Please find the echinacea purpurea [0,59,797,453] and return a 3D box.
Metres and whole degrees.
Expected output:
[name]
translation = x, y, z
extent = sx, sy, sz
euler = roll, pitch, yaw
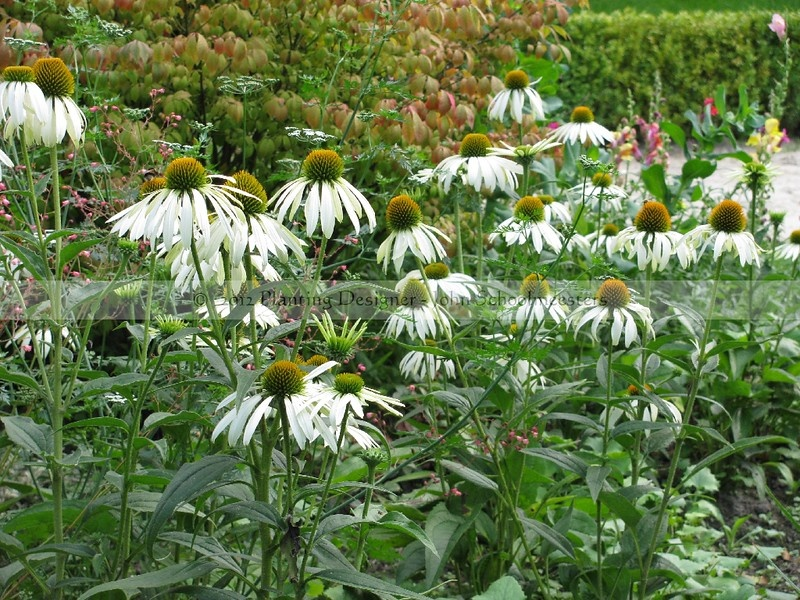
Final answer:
[echinacea purpurea]
translation = -0.102, -0.021, 3.899
extent = 2.407, 1.312, 1.896
euler = -1, 7, 1
